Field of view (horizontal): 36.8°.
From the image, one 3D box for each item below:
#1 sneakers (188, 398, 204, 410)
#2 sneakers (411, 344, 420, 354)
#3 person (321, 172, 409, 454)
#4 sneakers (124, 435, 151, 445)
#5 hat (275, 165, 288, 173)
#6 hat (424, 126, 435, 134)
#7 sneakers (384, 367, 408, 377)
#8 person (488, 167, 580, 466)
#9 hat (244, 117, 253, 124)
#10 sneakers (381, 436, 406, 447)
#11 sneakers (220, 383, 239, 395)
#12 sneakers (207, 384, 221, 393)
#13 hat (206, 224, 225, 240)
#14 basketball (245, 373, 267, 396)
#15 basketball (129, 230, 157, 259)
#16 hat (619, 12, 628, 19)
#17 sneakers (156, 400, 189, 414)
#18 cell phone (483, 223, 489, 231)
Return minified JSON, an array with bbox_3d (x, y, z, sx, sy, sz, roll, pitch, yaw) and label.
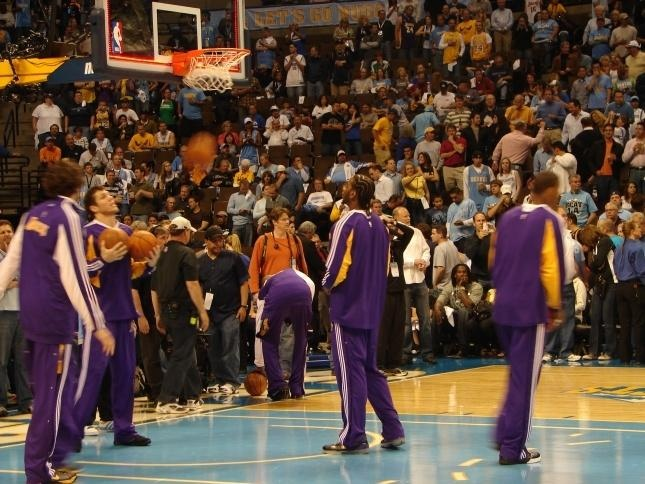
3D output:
[{"bbox_3d":[-1.613,2.064,12.255,0.209,0.127,0.407,-1,-5,-8],"label":"sneakers"},{"bbox_3d":[1.677,1.914,17.221,0.154,0.154,0.161,2,0,10],"label":"sneakers"},{"bbox_3d":[0.391,0.724,9.880,0.720,2.813,0.316,-1,-4,2],"label":"person"},{"bbox_3d":[-1.968,2.126,10.369,0.298,0.136,0.111,-1,0,-4],"label":"sneakers"},{"bbox_3d":[-0.860,-1.533,20.297,0.233,0.170,0.313,0,-10,0],"label":"hat"},{"bbox_3d":[2.196,-2.299,19.967,0.133,0.093,0.182,-18,-5,-44],"label":"hat"},{"bbox_3d":[1.116,1.943,14.481,0.326,0.139,0.135,0,-2,-2],"label":"sneakers"},{"bbox_3d":[1.975,0.889,9.242,0.704,2.472,0.269,-2,-4,9],"label":"person"},{"bbox_3d":[-1.739,-2.883,22.628,0.221,0.121,0.361,-4,1,-3],"label":"hat"},{"bbox_3d":[0.728,2.058,9.907,0.105,0.086,0.192,2,-11,-39],"label":"sneakers"},{"bbox_3d":[-1.274,2.052,13.463,0.123,0.107,0.248,-7,-17,26],"label":"sneakers"},{"bbox_3d":[-1.524,2.059,13.563,0.151,0.074,0.121,-1,-2,5],"label":"sneakers"},{"bbox_3d":[-1.466,-0.114,13.228,0.210,0.228,0.564,-1,-5,-3],"label":"hat"},{"bbox_3d":[-0.858,1.923,13.131,0.293,0.361,0.303,1,6,3],"label":"basketball"},{"bbox_3d":[-1.892,0.002,10.153,0.263,0.331,0.270,3,25,-13],"label":"basketball"},{"bbox_3d":[7.101,-5.313,22.690,0.202,0.169,0.285,-8,19,-2],"label":"hat"},{"bbox_3d":[-1.827,2.013,11.839,0.402,0.197,0.148,2,-3,-6],"label":"sneakers"},{"bbox_3d":[2.800,-0.266,16.503,0.031,0.125,0.131,-2,-1,34],"label":"cell phone"}]
